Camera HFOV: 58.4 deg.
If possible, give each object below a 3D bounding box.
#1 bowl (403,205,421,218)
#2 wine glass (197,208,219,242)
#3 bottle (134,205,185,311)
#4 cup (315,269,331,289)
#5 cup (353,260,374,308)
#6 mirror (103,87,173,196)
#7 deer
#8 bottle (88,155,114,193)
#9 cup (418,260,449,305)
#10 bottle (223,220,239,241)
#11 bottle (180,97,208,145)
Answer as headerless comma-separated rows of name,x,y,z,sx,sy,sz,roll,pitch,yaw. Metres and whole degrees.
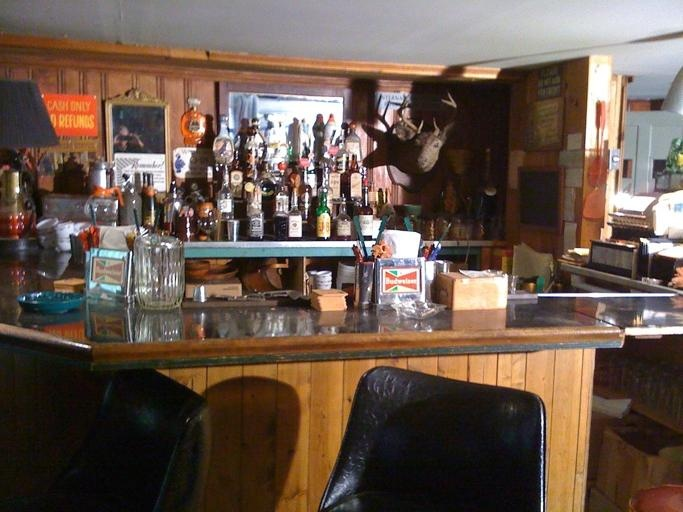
bowl,0.623,-0.381,5.267,0.106,0.081,0.110,2,10,0
wine glass,-1.028,-0.226,4.710,0.178,0.282,0.183,5,7,23
bottle,-0.776,0.065,2.637,0.193,0.317,0.198,4,14,-1
cup,-0.135,0.188,4.764,0.118,0.120,0.123,0,-3,0
cup,0.101,0.123,2.658,0.083,0.205,0.051,0,8,4
mirror,-1.642,-0.927,4.962,0.475,0.912,0.027,-1,-17,-14
deer,0.719,-1.046,5.322,0.520,0.692,0.511,0,8,4
bottle,-1.882,-0.626,4.798,0.193,0.248,0.231,-4,9,-23
cup,0.407,0.105,2.765,0.158,0.205,0.174,0,9,0
bottle,-0.812,-0.191,4.563,0.094,0.156,0.166,-2,9,-13
bottle,-1.206,-1.086,4.979,0.209,0.400,0.199,0,8,0
